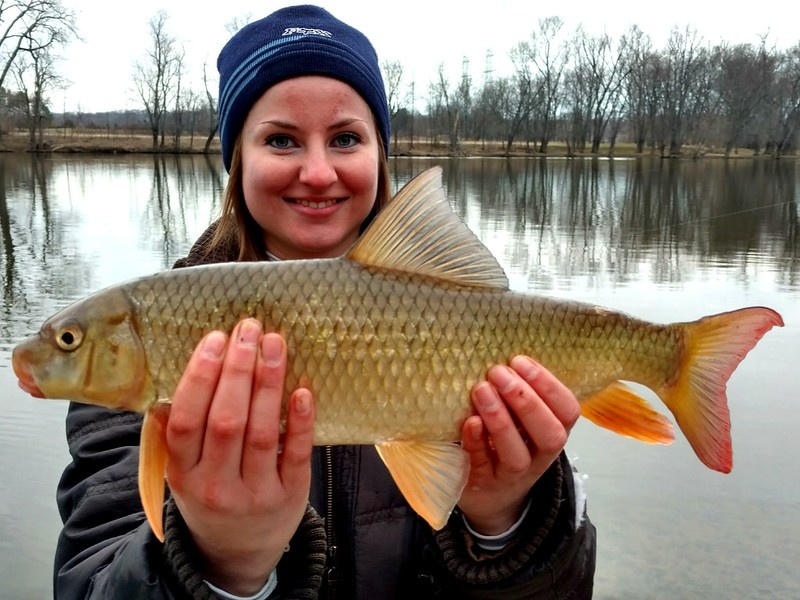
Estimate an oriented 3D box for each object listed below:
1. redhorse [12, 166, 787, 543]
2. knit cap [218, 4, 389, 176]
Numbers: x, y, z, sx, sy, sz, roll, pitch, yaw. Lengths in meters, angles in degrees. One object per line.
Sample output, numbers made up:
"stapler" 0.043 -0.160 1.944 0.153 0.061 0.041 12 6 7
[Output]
"redhorse" -0.068 0.285 3.001 3.171 1.598 0.871 2 4 -1
"knit cap" -0.575 -1.281 4.165 0.991 1.000 1.201 -1 -19 -10
